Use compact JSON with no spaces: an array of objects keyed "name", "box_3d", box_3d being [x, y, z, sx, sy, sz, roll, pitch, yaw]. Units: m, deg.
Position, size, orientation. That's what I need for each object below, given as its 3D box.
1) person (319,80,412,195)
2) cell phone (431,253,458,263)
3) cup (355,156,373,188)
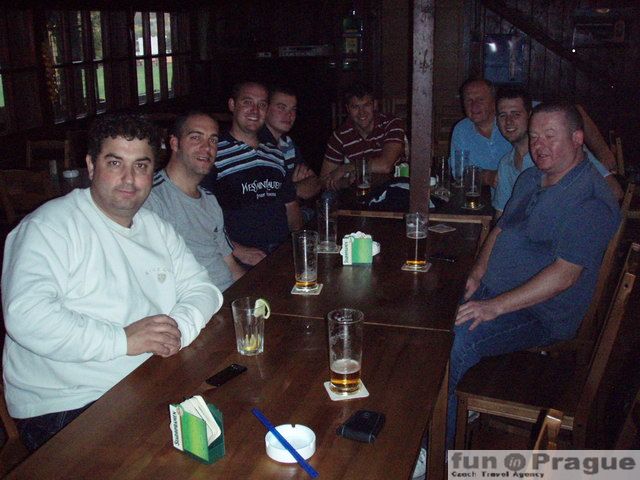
[{"name":"person","box_3d":[0.416,-0.716,4.023,0.733,0.841,0.948,3,44,17]},{"name":"cell phone","box_3d":[0.614,0.093,2.457,0.073,0.013,0.122,-11,15,-36]},{"name":"cup","box_3d":[0.321,-0.490,3.660,0.153,0.264,0.151,-4,38,3]}]
